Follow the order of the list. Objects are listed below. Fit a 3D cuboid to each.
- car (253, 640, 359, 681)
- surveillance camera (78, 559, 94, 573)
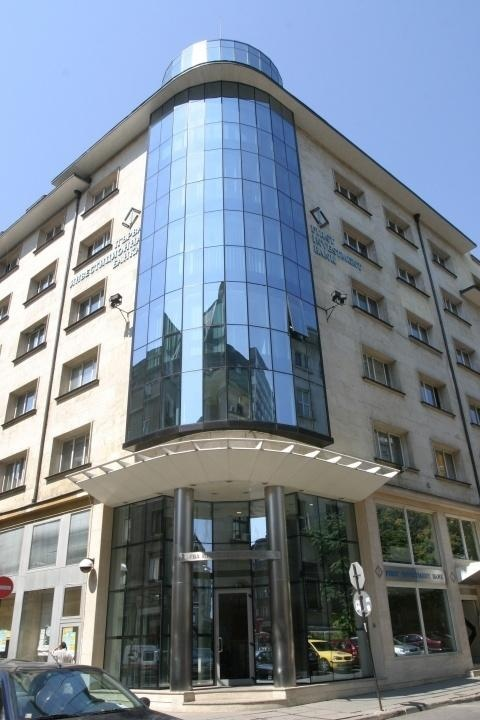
[{"bbox_3d":[2.010,8.673,13.867,2.797,0.986,1.260,-1,-28,-12],"label":"car"},{"bbox_3d":[-4.885,6.593,15.498,0.386,0.438,0.519,24,-44,-34],"label":"surveillance camera"}]
